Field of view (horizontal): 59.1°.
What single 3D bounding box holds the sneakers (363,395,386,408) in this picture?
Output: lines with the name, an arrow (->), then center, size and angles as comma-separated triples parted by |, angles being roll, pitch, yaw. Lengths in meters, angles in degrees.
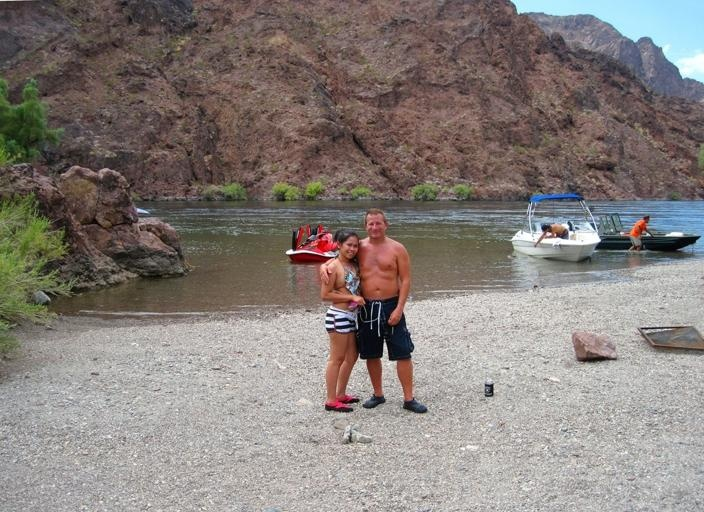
sneakers -> 0.325, 2.222, 9.497 | 0.377, 0.133, 0.134 | -2, 5, -22

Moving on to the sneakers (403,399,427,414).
sneakers -> 0.943, 2.246, 9.315 | 0.327, 0.114, 0.167 | 1, 1, 32

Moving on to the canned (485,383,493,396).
canned -> 2.140, 2.088, 9.711 | 0.192, 0.176, 0.177 | 0, -3, 3

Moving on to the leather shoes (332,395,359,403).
leather shoes -> -0.082, 2.194, 9.573 | 0.365, 0.124, 0.120 | 0, -2, -1

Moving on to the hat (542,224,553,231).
hat -> 8.402, -1.213, 26.722 | 0.354, 0.208, 0.428 | 2, 6, 6

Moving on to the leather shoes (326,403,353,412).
leather shoes -> -0.212, 2.273, 9.334 | 0.334, 0.112, 0.151 | 0, 0, 7

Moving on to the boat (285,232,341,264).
boat -> -1.573, -0.403, 26.831 | 1.692, 0.728, 2.002 | -2, 2, 19

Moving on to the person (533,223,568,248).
person -> 8.569, -0.879, 26.607 | 1.330, 0.868, 0.649 | -1, 12, 14
